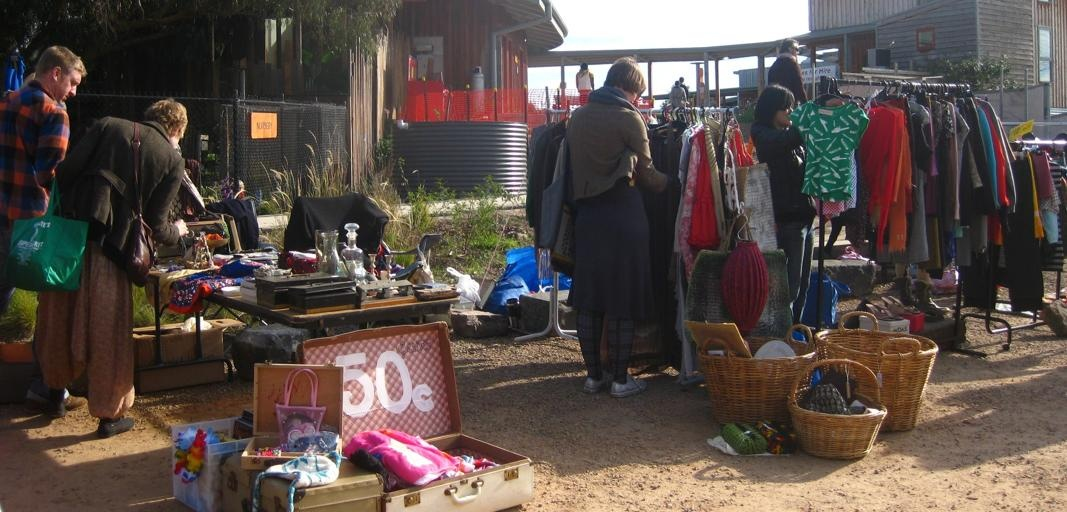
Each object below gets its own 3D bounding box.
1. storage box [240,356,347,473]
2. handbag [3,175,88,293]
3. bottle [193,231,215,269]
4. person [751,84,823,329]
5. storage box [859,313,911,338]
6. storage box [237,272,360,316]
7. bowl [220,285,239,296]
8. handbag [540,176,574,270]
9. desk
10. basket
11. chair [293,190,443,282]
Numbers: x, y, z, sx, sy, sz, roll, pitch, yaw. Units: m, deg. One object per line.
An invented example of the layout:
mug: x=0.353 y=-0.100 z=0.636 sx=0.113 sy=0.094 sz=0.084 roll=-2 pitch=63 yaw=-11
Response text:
storage box: x=-2.636 y=1.805 z=9.950 sx=1.116 sy=1.096 sz=0.802 roll=4 pitch=-1 yaw=-11
handbag: x=-5.943 y=-0.225 z=11.006 sx=0.998 sy=1.318 sz=0.386 roll=-3 pitch=7 yaw=4
bottle: x=-4.406 y=-0.086 z=12.027 sx=0.210 sy=0.416 sz=0.720 roll=-6 pitch=9 yaw=-19
person: x=3.423 y=-0.679 z=12.236 sx=0.779 sy=3.242 sz=0.474 roll=-2 pitch=8 yaw=15
storage box: x=4.997 y=0.960 z=12.672 sx=0.491 sy=0.307 sz=0.487 roll=2 pitch=1 yaw=-34
storage box: x=-2.647 y=0.434 z=10.654 sx=1.331 sy=0.666 sz=0.666 roll=0 pitch=1 yaw=-8
bowl: x=-3.739 y=0.433 z=11.137 sx=0.207 sy=0.092 sz=0.196 roll=-4 pitch=8 yaw=1
handbag: x=0.322 y=-0.435 z=12.344 sx=0.432 sy=1.244 sz=0.454 roll=3 pitch=1 yaw=2
desk: x=-3.004 y=1.175 z=12.077 sx=2.690 sy=2.379 sz=3.810 roll=1 pitch=3 yaw=36
basket: x=3.539 y=2.014 z=11.327 sx=2.990 sy=2.112 sz=2.006 roll=0 pitch=1 yaw=5
chair: x=-2.523 y=-0.326 z=13.821 sx=2.437 sy=1.281 sz=0.874 roll=-1 pitch=1 yaw=21
